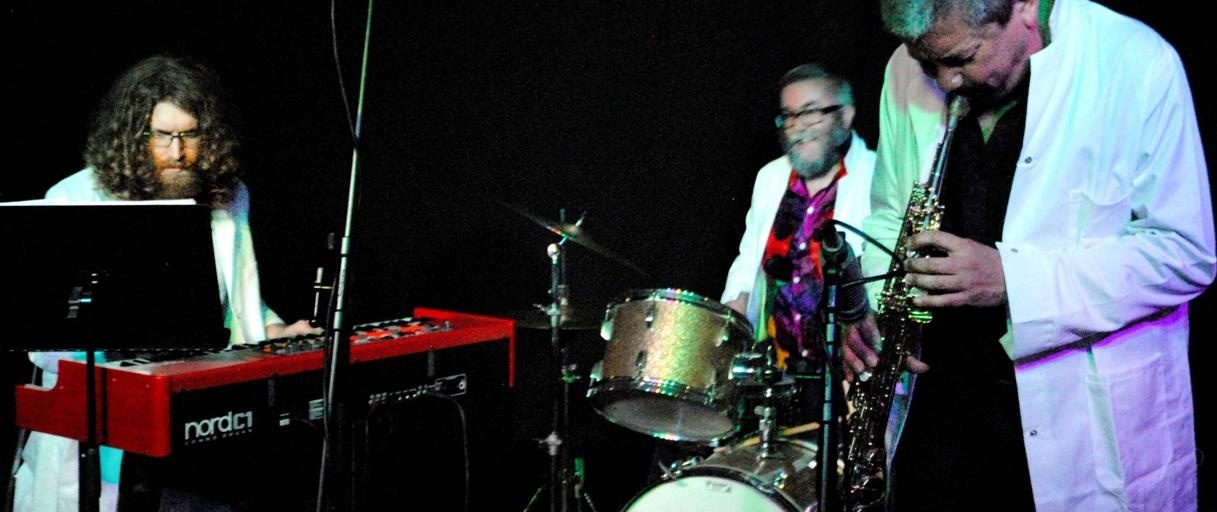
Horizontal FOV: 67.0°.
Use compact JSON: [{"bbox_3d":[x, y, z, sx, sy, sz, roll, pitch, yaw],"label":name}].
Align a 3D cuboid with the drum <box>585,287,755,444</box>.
[{"bbox_3d":[0.422,0.816,6.441,1.169,0.634,1.011,-1,-33,21],"label":"drum"}]
